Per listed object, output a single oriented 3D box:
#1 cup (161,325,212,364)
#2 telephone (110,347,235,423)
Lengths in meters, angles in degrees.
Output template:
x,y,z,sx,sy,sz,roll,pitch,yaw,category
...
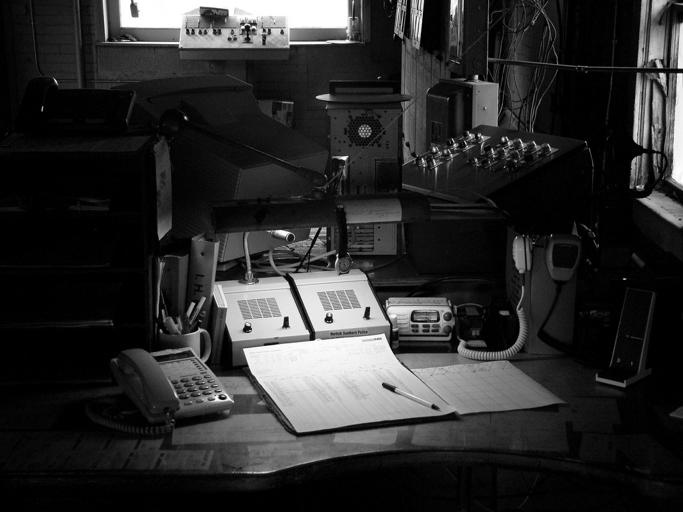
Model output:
x,y,z,sx,sy,sz,roll,pitch,yaw,category
-0.436,0.246,1.798,0.128,0.094,0.079,3,14,-16,cup
-0.419,0.262,1.590,0.182,0.099,0.247,-7,32,-38,telephone
